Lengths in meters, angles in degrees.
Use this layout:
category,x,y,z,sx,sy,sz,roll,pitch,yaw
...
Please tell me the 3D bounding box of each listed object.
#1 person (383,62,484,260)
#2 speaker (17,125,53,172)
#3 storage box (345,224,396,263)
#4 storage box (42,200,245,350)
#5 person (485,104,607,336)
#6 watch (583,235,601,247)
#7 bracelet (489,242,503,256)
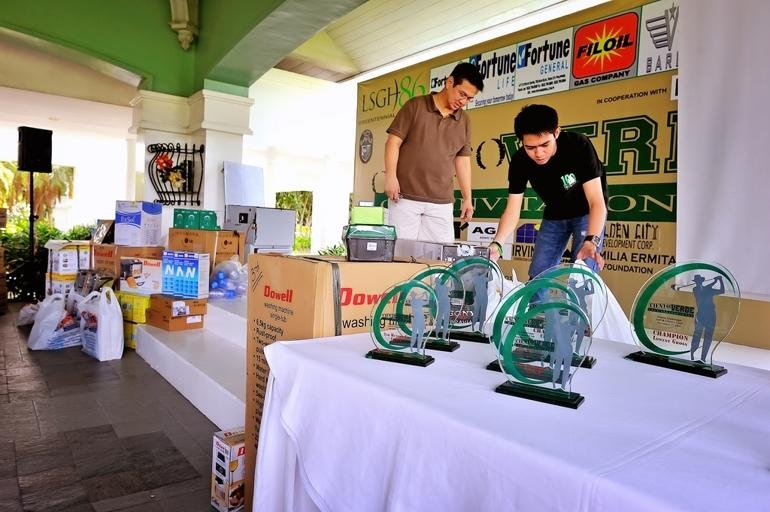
category,x,y,z,sx,sy,sz,roll,pitch,yaw
person,0.358,-0.695,3.502,0.798,1.228,0.874,-3,10,-16
speaker,-4.784,-1.459,6.751,0.404,0.617,0.335,-8,13,-40
storage box,-0.058,-0.060,2.164,0.234,0.165,0.153,1,4,-7
storage box,-2.437,0.225,5.427,1.512,0.978,1.484,3,4,40
person,0.975,-0.359,2.944,0.625,1.073,0.611,4,10,24
watch,1.099,-0.082,2.615,0.056,0.039,0.052,23,-15,-24
bracelet,0.622,-0.042,2.775,0.067,0.037,0.050,39,4,-7
